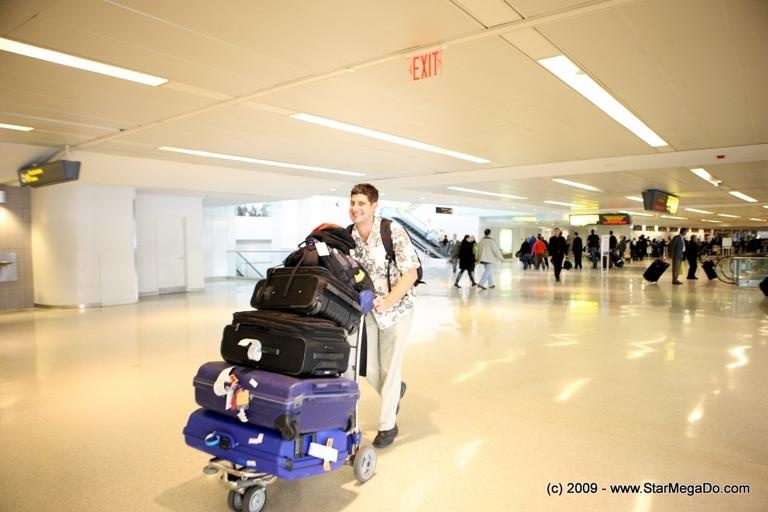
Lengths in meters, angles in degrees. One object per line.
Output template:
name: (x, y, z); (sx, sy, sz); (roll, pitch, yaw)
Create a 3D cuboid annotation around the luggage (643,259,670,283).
luggage: (9.715, 0.515, 16.802); (0.633, 0.794, 2.011); (-1, -2, 31)

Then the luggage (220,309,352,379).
luggage: (-0.739, 0.671, 3.567); (0.722, 0.324, 0.639); (2, -11, 32)

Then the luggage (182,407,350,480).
luggage: (-0.784, 1.471, 3.593); (0.733, 0.232, 0.748); (-4, -21, 43)

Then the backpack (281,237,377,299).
backpack: (-0.379, 0.236, 4.145); (0.696, 0.300, 0.909); (-3, -35, 40)

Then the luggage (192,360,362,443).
luggage: (-1.024, 1.107, 3.840); (0.980, 0.358, 0.727); (7, -7, 20)

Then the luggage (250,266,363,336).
luggage: (-0.631, 0.393, 3.989); (0.914, 0.323, 0.725); (2, -27, 31)

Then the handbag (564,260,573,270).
handbag: (9.234, 0.470, 23.639); (0.284, 0.441, 0.462); (-3, -12, 45)

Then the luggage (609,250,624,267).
luggage: (12.238, 0.176, 24.826); (0.587, 0.924, 1.931); (-4, -13, 38)
